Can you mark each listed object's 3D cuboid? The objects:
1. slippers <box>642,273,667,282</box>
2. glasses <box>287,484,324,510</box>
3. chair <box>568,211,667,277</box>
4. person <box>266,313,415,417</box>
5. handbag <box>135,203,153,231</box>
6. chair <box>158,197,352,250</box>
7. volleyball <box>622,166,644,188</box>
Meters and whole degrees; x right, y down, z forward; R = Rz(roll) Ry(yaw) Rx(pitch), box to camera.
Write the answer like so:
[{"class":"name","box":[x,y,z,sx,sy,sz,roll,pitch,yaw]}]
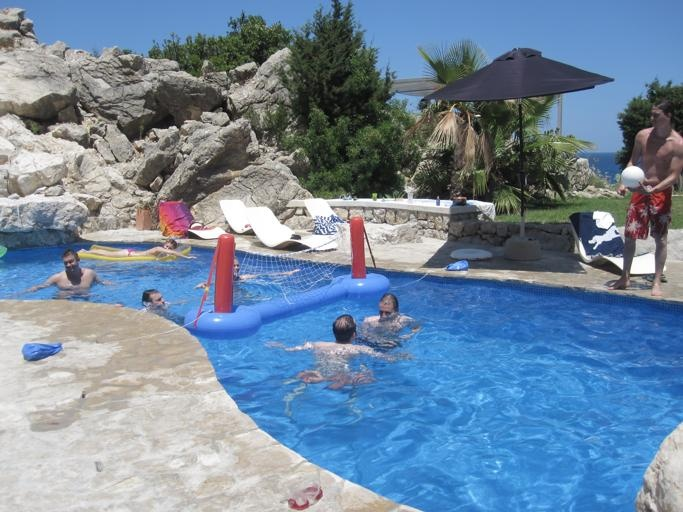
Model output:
[{"class":"slippers","box":[4.844,0.340,9.361,0.223,0.078,0.288,3,8,38]},{"class":"glasses","box":[-0.257,1.791,4.466,0.298,0.102,0.144,-6,11,-34]},{"class":"chair","box":[4.671,-0.227,10.418,0.759,0.589,1.727,-4,18,-10]},{"class":"person","box":[-0.092,1.299,7.162,1.509,0.604,1.012,5,29,18]},{"class":"handbag","box":[-5.868,-1.148,17.754,0.383,0.764,0.882,-12,20,-36]},{"class":"chair","box":[-2.052,-0.828,14.563,4.921,0.945,2.161,6,11,37]},{"class":"volleyball","box":[4.002,-1.085,8.243,0.367,0.310,0.235,0,9,0]}]
